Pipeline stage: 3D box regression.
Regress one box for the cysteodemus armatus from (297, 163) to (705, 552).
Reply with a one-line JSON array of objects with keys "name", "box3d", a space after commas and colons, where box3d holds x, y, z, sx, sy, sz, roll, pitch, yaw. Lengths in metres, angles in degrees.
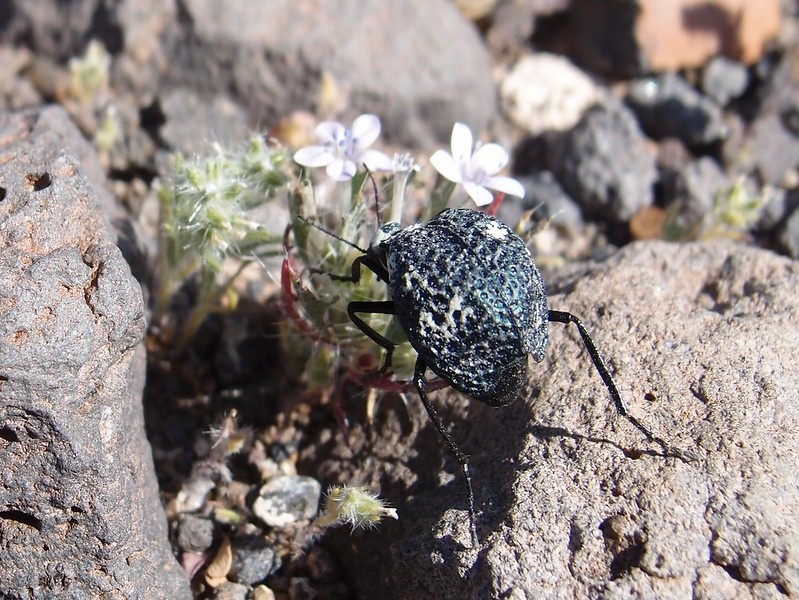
[{"name": "cysteodemus armatus", "box3d": [0.412, 0.012, 5.565, 1.439, 0.738, 2.234, -23, 62, -34]}]
